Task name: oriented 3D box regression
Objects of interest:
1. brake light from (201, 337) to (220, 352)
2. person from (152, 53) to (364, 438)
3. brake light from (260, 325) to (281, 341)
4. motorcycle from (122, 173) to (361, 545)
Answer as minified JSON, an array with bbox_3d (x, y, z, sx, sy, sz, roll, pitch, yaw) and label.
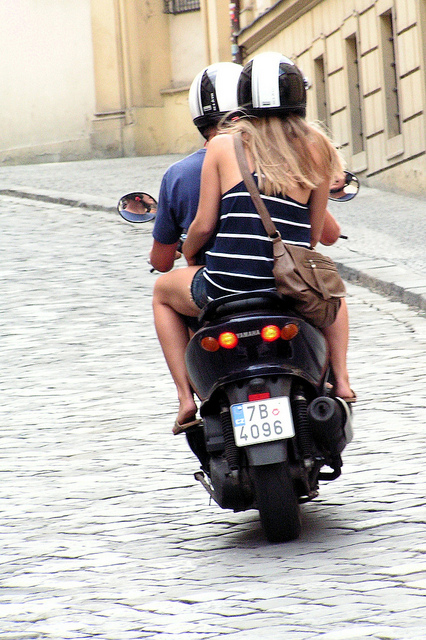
[{"bbox_3d":[-0.011,0.078,3.100,0.024,0.045,0.072,-10,3,-38],"label":"brake light"},{"bbox_3d":[0.193,-0.450,3.745,0.916,0.943,1.517,-5,8,3],"label":"person"},{"bbox_3d":[0.182,0.038,3.051,0.065,0.047,0.020,-8,1,-28],"label":"brake light"},{"bbox_3d":[0.159,0.264,3.098,0.520,0.708,1.071,-23,1,1],"label":"motorcycle"}]
